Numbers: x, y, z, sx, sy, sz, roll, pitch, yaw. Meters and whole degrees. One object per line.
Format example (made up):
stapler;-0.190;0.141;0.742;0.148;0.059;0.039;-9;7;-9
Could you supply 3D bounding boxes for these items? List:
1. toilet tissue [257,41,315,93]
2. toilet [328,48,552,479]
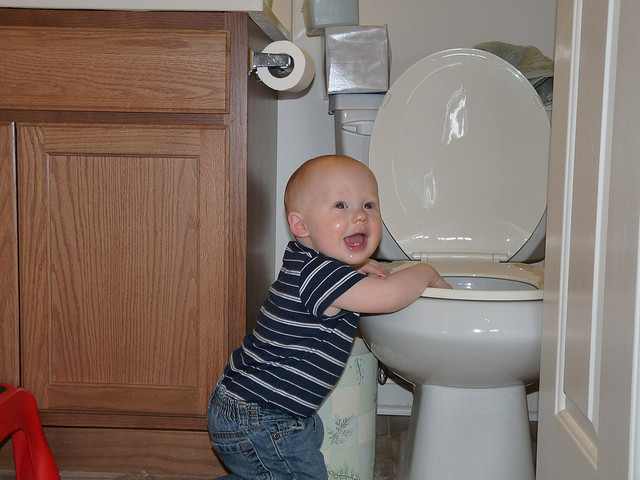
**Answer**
toilet tissue;-0.085;-0.385;1.491;0.104;0.103;0.174;4;3;19
toilet;0.236;0.050;1.388;0.597;0.634;0.524;4;3;19
